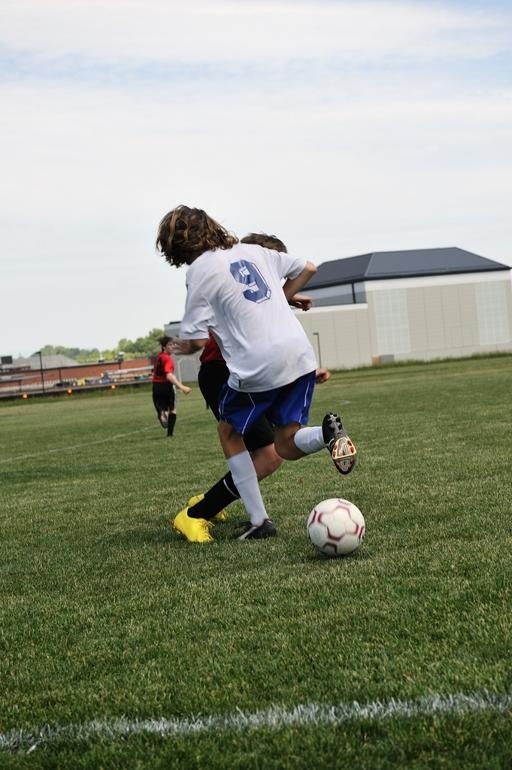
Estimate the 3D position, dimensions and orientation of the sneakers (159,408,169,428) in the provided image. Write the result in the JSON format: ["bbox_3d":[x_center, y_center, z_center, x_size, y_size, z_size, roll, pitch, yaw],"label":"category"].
[{"bbox_3d":[-1.567,0.551,12.064,0.154,0.442,0.186,-7,-40,-9],"label":"sneakers"}]

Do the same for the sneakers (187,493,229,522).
[{"bbox_3d":[-0.307,0.706,4.303,0.151,0.119,0.337,-10,-28,28],"label":"sneakers"}]

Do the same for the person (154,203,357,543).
[{"bbox_3d":[-0.011,-0.058,3.667,0.861,1.439,0.851,-5,2,-7],"label":"person"}]

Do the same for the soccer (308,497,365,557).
[{"bbox_3d":[0.386,0.689,3.391,0.272,0.267,0.271,16,3,15],"label":"soccer"}]

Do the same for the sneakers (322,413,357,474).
[{"bbox_3d":[0.401,0.279,3.415,0.120,0.329,0.141,-15,-20,-13],"label":"sneakers"}]

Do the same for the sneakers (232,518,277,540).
[{"bbox_3d":[-0.034,0.779,3.861,0.278,0.117,0.096,-7,-9,40],"label":"sneakers"}]
